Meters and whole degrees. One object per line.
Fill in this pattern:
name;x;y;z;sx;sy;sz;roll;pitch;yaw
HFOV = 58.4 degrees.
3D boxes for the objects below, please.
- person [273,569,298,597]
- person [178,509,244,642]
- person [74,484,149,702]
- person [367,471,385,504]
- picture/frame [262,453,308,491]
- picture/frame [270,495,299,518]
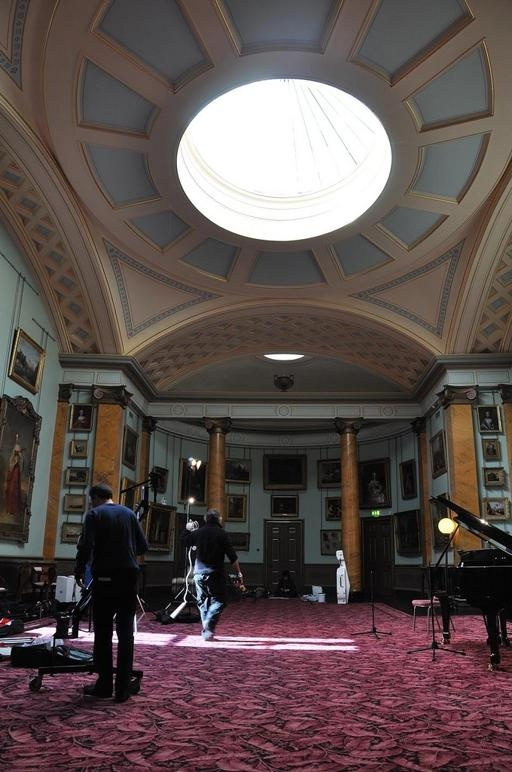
person;1.011;6.761;15.689;0.654;0.858;0.570;-2;-15;6
person;-0.532;2.471;5.938;0.556;1.670;1.273;4;-16;-17
person;-0.925;1.289;2.926;0.422;1.306;0.427;3;-15;-13
person;4.456;3.830;17.058;0.170;1.192;0.721;7;-17;-27
picture/frame;1.185;3.525;18.578;1.425;1.250;0.146;0;-16;2
picture/frame;1.154;4.818;18.327;0.849;0.740;0.089;0;-18;2
